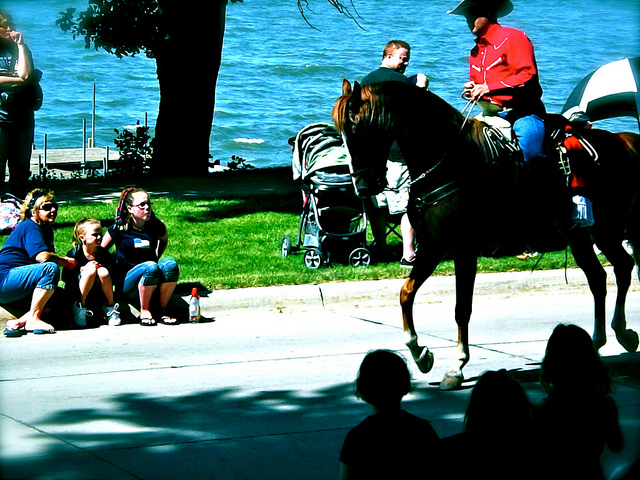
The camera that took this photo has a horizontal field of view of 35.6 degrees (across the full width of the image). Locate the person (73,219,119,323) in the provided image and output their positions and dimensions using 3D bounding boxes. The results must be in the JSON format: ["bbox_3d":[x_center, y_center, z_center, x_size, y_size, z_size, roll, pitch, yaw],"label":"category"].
[{"bbox_3d":[-2.631,0.355,11.756,0.522,1.181,0.540,1,10,-18],"label":"person"}]

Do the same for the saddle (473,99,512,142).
[{"bbox_3d":[1.769,-1.214,10.036,0.562,0.424,0.335,0,15,8],"label":"saddle"}]

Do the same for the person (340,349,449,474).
[{"bbox_3d":[0.507,1.114,6.344,0.672,0.758,0.397,4,9,1],"label":"person"}]

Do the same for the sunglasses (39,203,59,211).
[{"bbox_3d":[-3.171,-0.399,11.709,0.094,0.083,0.219,8,10,27],"label":"sunglasses"}]

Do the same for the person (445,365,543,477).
[{"bbox_3d":[1.131,1.168,6.351,0.633,0.629,0.392,4,9,3],"label":"person"}]

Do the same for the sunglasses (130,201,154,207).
[{"bbox_3d":[-2.145,-0.439,11.959,0.145,0.035,0.146,-4,1,40],"label":"sunglasses"}]

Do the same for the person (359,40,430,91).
[{"bbox_3d":[0.968,-2.410,13.701,0.662,0.637,1.086,1,15,-4],"label":"person"}]

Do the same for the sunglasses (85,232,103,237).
[{"bbox_3d":[-2.639,-0.070,11.703,0.194,0.045,0.078,-4,11,-41],"label":"sunglasses"}]
